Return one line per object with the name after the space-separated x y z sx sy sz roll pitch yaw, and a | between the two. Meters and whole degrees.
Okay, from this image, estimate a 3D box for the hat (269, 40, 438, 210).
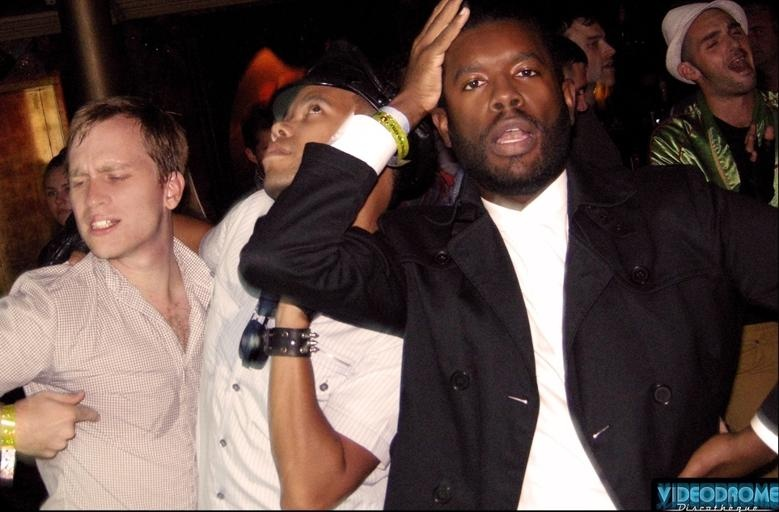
-0.143 -0.843 3.730 0.492 1.116 0.806 -56 2 -31 | hat
